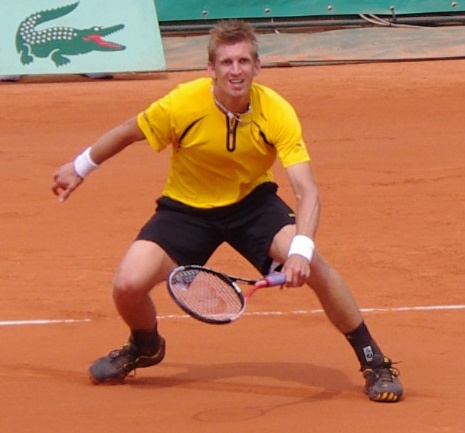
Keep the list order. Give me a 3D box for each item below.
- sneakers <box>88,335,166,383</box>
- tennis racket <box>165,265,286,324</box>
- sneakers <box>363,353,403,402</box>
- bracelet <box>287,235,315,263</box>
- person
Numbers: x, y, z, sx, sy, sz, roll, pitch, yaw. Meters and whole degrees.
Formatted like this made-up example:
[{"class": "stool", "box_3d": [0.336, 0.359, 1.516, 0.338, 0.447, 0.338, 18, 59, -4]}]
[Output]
[{"class": "sneakers", "box_3d": [-0.706, 0.948, 5.267, 0.591, 0.247, 0.212, -21, 57, -26]}, {"class": "tennis racket", "box_3d": [-0.021, 0.453, 4.711, 0.678, 0.292, 0.570, -3, 11, 10]}, {"class": "sneakers", "box_3d": [0.946, 1.018, 4.989, 0.241, 0.247, 0.236, -4, 12, 7]}, {"class": "bracelet", "box_3d": [0.458, 0.206, 4.859, 0.178, 0.149, 0.163, 18, -22, -10]}, {"class": "person", "box_3d": [-0.219, -0.095, 5.109, 1.545, 2.260, 0.766, -5, 14, 5]}]
